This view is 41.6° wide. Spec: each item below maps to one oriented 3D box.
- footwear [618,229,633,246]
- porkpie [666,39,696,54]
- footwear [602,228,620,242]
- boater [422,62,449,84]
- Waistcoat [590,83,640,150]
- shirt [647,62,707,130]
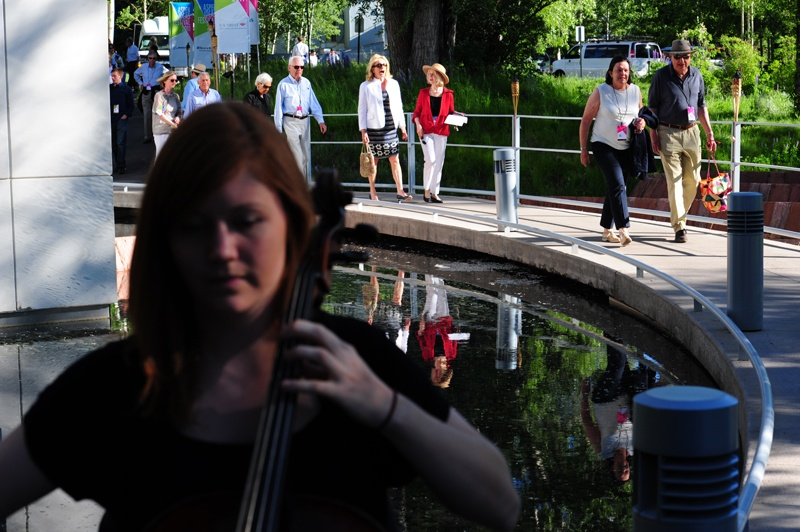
[{"bbox_3d":[2.304,-0.301,10.720,0.083,0.121,0.262,-15,-4,1],"label":"footwear"},{"bbox_3d":[2.717,-2.140,10.177,0.169,0.077,0.218,-1,6,4],"label":"porkpie"},{"bbox_3d":[2.204,-0.319,10.988,0.076,0.101,0.217,-4,4,-15],"label":"footwear"},{"bbox_3d":[0.455,-2.546,13.812,0.307,0.259,0.492,-1,10,0],"label":"boater"},{"bbox_3d":[2.154,-1.497,10.426,0.511,0.767,0.399,4,6,-18],"label":"Waistcoat"},{"bbox_3d":[2.768,-1.712,10.398,0.554,0.618,0.346,-1,11,-3],"label":"shirt"}]
